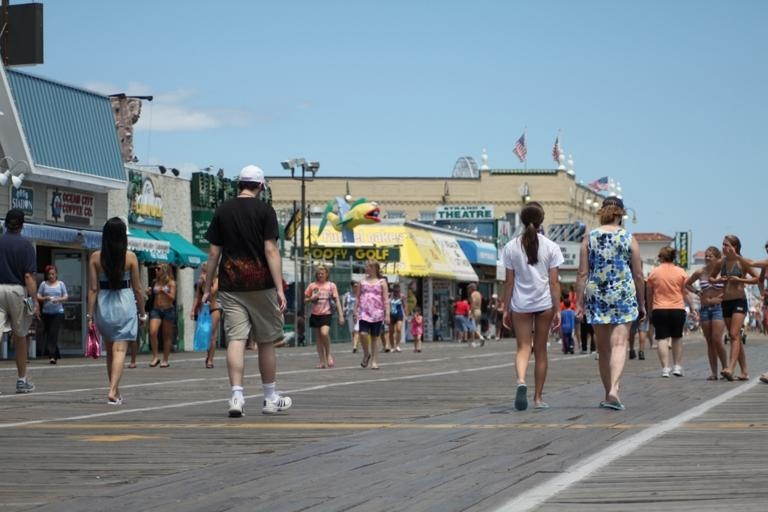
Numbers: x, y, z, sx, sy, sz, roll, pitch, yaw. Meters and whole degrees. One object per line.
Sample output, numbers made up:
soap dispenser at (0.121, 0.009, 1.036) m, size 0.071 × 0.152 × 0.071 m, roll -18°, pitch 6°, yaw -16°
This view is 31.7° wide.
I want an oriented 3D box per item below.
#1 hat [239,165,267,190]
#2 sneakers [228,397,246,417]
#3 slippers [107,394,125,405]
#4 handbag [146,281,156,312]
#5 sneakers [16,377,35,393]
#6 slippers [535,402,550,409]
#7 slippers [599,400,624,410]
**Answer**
hat at (-1.734, -1.038, 18.009) m, size 0.328 × 0.285 × 0.343 m, roll -2°, pitch 7°, yaw -6°
sneakers at (-1.879, 1.932, 17.520) m, size 0.202 × 0.262 × 0.313 m, roll -2°, pitch 7°, yaw -9°
slippers at (-3.690, 2.004, 18.826) m, size 0.088 × 0.098 × 0.220 m, roll 3°, pitch 3°, yaw 13°
handbag at (-4.879, 0.865, 28.344) m, size 0.214 × 0.578 × 0.421 m, roll 6°, pitch 3°, yaw 7°
sneakers at (-5.407, 1.975, 20.730) m, size 0.158 × 0.162 × 0.365 m, roll 2°, pitch 3°, yaw 12°
slippers at (2.134, 2.018, 18.267) m, size 0.072 × 0.078 × 0.200 m, roll 3°, pitch 0°, yaw 25°
slippers at (2.997, 1.977, 18.029) m, size 0.336 × 0.139 × 0.114 m, roll 0°, pitch 2°, yaw 25°
